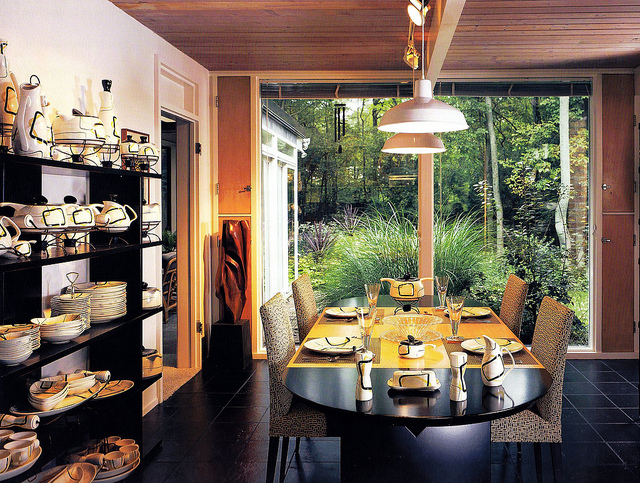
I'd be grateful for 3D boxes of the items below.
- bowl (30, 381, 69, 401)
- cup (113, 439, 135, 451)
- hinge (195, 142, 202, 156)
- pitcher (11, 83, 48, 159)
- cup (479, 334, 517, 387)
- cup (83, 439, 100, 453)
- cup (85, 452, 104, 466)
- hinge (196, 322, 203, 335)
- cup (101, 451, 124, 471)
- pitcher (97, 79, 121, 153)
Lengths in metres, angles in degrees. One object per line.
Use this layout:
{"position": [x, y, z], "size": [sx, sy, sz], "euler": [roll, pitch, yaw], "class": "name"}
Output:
{"position": [-1.386, 0.758, 2.660], "size": [0.175, 0.041, 0.192], "euler": [2, 10, 0], "class": "bowl"}
{"position": [-1.166, 1.219, 3.098], "size": [0.059, 0.057, 0.061], "euler": [1, -6, 0], "class": "cup"}
{"position": [-1.115, -0.860, 4.878], "size": [0.076, 0.107, 0.107], "euler": [0, 0, 3], "class": "hinge"}
{"position": [-1.388, -0.576, 2.475], "size": [0.156, 0.343, 0.147], "euler": [-3, 11, -28], "class": "pitcher"}
{"position": [0.821, 0.562, 2.387], "size": [0.204, 0.273, 0.130], "euler": [-1, -4, -7], "class": "cup"}
{"position": [-1.335, 1.211, 3.044], "size": [0.059, 0.047, 0.065], "euler": [0, -9, 1], "class": "cup"}
{"position": [-1.266, 1.229, 2.919], "size": [0.063, 0.057, 0.070], "euler": [1, 4, 4], "class": "cup"}
{"position": [-1.124, 0.806, 4.863], "size": [0.019, 0.077, 0.081], "euler": [2, 0, 28], "class": "hinge"}
{"position": [-1.161, 1.237, 2.918], "size": [0.115, 0.060, 0.107], "euler": [2, 10, 0], "class": "cup"}
{"position": [-1.275, -0.751, 3.129], "size": [0.125, 0.438, 0.291], "euler": [-2, 10, -22], "class": "pitcher"}
